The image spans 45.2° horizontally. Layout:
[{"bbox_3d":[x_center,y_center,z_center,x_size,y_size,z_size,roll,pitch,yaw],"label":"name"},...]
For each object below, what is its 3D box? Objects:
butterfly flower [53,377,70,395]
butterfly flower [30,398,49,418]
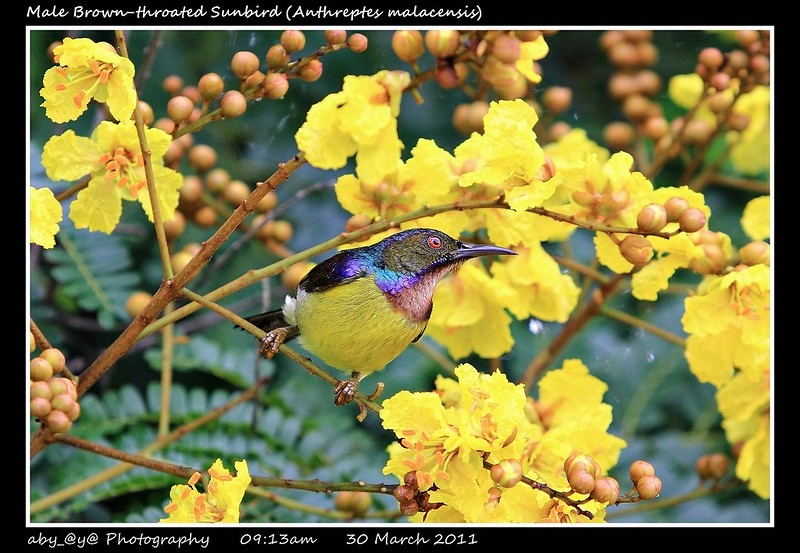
[{"bbox_3d":[-1.363,0.441,3.856,0.058,0.059,0.072,-5,81,4],"label":"butterfly flower"},{"bbox_3d":[-1.426,0.524,3.814,0.066,0.085,0.074,3,5,7],"label":"butterfly flower"}]
